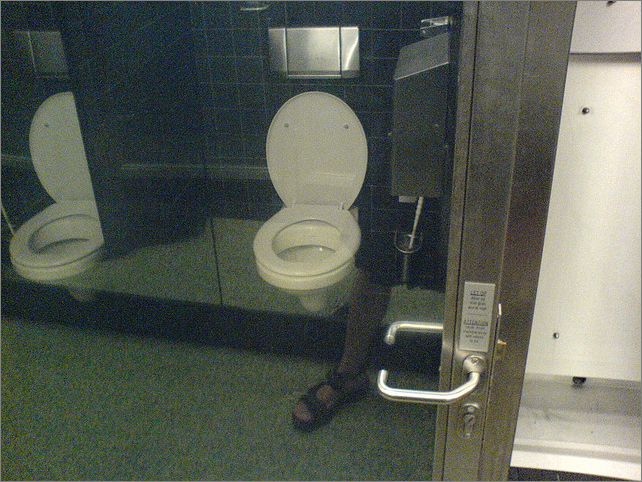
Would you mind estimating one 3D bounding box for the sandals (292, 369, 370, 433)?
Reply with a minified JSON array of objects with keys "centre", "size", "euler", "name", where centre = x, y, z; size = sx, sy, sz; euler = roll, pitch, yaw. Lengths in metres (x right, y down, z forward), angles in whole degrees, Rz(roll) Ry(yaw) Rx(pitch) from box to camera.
[{"centre":[0.016,0.338,1.202],"size":[0.211,0.080,0.085],"euler":[-28,66,-3],"name":"sandals"}]
